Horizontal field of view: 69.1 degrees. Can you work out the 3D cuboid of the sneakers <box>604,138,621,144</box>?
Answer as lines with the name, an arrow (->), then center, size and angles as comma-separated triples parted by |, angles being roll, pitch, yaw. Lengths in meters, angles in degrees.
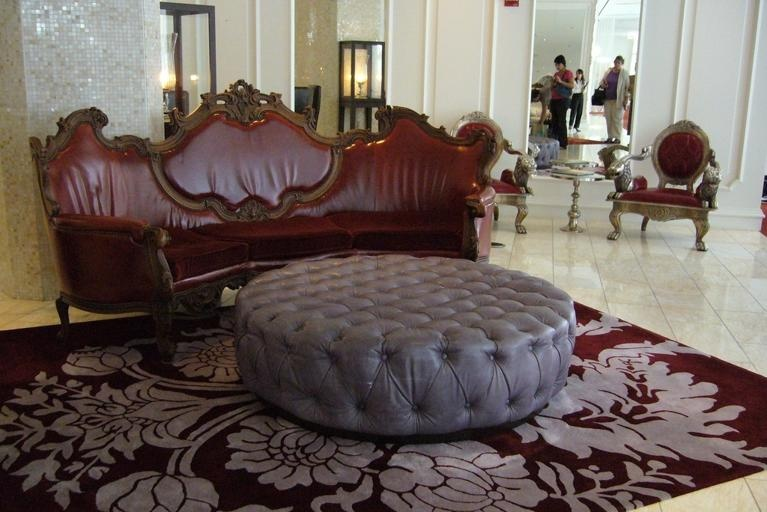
sneakers -> 3.034, -1.517, 7.312 | 0.058, 0.065, 0.155 | -5, 6, -26

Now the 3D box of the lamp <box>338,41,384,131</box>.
lamp -> -0.377, -2.448, 8.341 | 0.506, 1.350, 0.485 | -6, 20, -33

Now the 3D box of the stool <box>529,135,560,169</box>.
stool -> 2.120, -1.438, 7.590 | 0.440, 0.295, 0.426 | -4, 19, -18

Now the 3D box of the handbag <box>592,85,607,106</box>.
handbag -> 2.835, -2.117, 7.278 | 0.190, 0.269, 0.116 | 23, 44, 37

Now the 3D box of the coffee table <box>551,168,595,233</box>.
coffee table -> 2.342, -0.749, 6.935 | 0.502, 0.729, 0.865 | 7, 18, 19

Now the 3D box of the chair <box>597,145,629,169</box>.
chair -> 2.958, -1.291, 7.111 | 0.551, 0.275, 0.373 | -11, 7, -39

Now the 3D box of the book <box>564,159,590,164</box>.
book -> 2.421, -1.186, 6.964 | 0.176, 0.034, 0.165 | -1, 6, -16

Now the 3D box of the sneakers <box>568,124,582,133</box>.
sneakers -> 2.555, -1.701, 7.405 | 0.196, 0.127, 0.064 | -16, 29, -23

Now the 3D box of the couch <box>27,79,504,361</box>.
couch -> -0.922, -0.237, 3.907 | 2.107, 1.029, 1.006 | -6, 19, -24

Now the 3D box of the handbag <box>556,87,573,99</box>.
handbag -> 2.365, -2.158, 7.341 | 0.229, 0.206, 0.125 | 2, 11, 0

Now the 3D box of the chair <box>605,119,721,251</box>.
chair -> 3.311, -0.829, 6.488 | 1.362, 1.576, 1.109 | 9, 17, 35
